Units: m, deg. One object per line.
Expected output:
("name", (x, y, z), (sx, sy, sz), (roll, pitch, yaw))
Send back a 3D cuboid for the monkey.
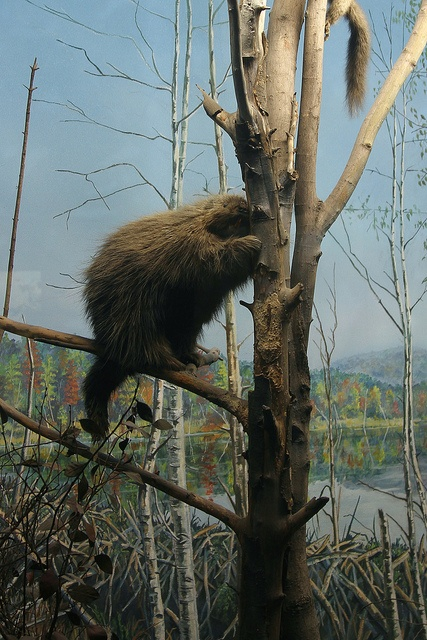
("monkey", (-0.136, -0.099, 2.288), (0.543, 0.678, 0.466), (-10, 15, -35))
